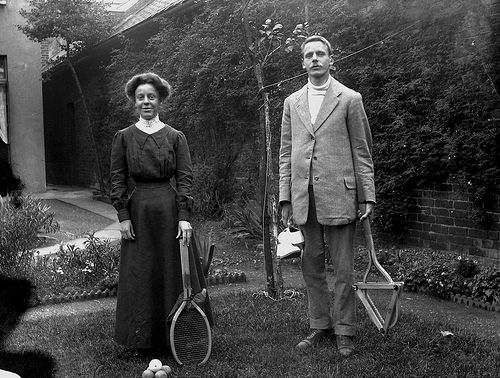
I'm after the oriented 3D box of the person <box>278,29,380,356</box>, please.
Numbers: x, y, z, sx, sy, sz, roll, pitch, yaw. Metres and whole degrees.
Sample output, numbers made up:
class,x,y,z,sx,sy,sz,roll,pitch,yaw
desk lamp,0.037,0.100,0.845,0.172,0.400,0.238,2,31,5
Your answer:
class,x,y,z,sx,sy,sz,roll,pitch,yaw
person,0.575,0.020,3.820,0.755,2.399,0.505,-1,2,12

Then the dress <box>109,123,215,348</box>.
class,x,y,z,sx,sy,sz,roll,pitch,yaw
dress,-0.647,0.319,3.829,0.743,1.743,0.493,-1,23,-6

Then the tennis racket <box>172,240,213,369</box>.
class,x,y,z,sx,sy,sz,roll,pitch,yaw
tennis racket,-0.428,0.816,3.406,0.267,0.993,0.108,-2,19,-1

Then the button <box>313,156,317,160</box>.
class,x,y,z,sx,sy,sz,roll,pitch,yaw
button,0.496,-0.233,3.780,0.026,0.030,0.006,-9,-2,4

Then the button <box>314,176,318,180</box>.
class,x,y,z,sx,sy,sz,roll,pitch,yaw
button,0.503,-0.081,3.774,0.027,0.031,0.011,6,-1,10
